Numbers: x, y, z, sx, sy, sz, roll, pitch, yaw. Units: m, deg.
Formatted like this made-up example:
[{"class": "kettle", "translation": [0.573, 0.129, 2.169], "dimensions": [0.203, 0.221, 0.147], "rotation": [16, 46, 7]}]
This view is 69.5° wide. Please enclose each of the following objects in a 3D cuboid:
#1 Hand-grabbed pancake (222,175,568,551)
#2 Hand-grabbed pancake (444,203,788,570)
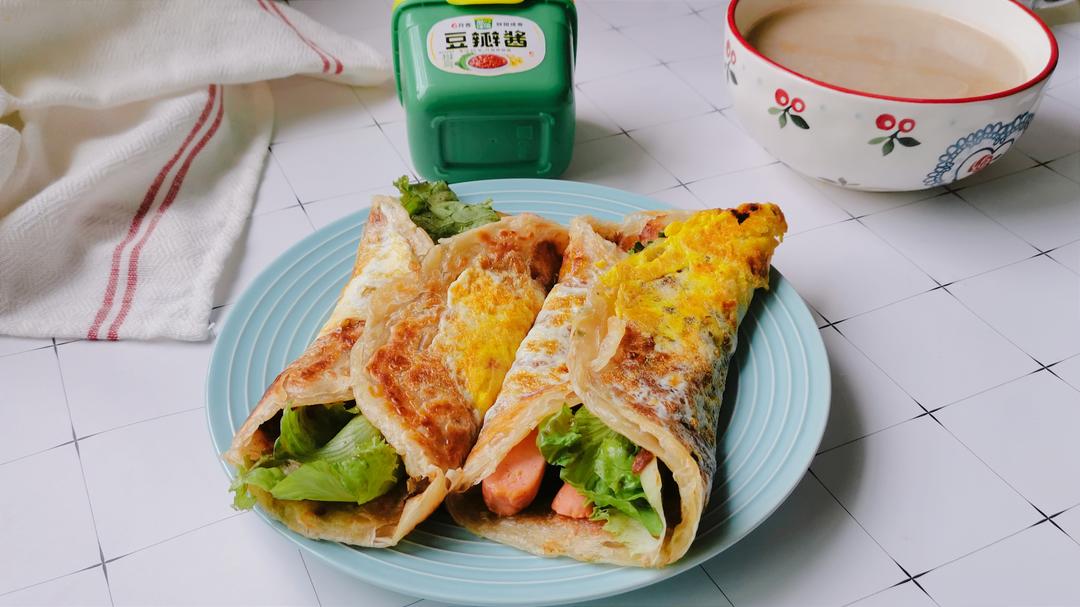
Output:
[{"class": "Hand-grabbed pancake", "translation": [-0.243, 0.107, 1.492], "dimensions": [0.434, 0.201, 0.685], "rotation": [16, 52, 2]}, {"class": "Hand-grabbed pancake", "translation": [0.146, 0.128, 1.386], "dimensions": [0.427, 0.251, 0.704], "rotation": [13, 54, 15]}]
